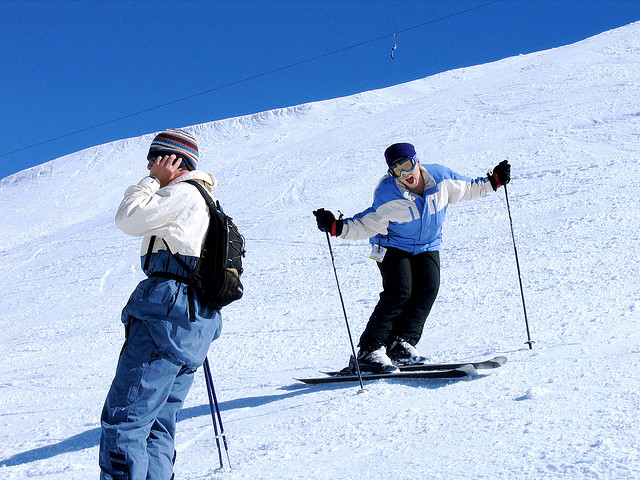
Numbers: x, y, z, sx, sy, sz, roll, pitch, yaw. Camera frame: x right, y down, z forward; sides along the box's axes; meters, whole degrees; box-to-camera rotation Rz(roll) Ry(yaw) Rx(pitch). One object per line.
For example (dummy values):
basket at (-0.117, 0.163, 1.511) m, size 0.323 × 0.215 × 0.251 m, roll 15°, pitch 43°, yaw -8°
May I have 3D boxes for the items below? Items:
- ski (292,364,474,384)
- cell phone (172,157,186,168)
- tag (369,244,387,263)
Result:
ski at (0.739, 1.446, 7.270) m, size 2.233 × 0.107 × 0.258 m, roll -4°, pitch 21°, yaw 20°
cell phone at (-1.206, -0.681, 5.795) m, size 0.074 × 0.034 × 0.090 m, roll 21°, pitch -8°, yaw -17°
tag at (0.659, 0.143, 7.683) m, size 0.189 × 0.177 × 0.045 m, roll 25°, pitch 3°, yaw 39°
